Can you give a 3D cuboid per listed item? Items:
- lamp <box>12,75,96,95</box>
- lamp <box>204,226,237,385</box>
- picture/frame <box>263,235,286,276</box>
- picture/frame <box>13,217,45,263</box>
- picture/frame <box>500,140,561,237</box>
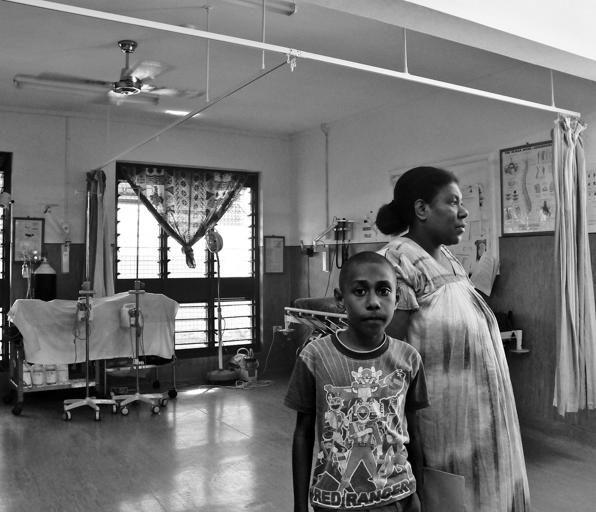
[{"bbox_3d":[-1.763,-1.243,4.504,0.573,0.125,0.292,0,0,-29],"label":"lamp"},{"bbox_3d":[-0.954,0.587,7.720,0.394,1.907,0.687,0,0,-9],"label":"lamp"},{"bbox_3d":[-0.339,0.009,8.426,0.460,0.770,0.045,4,-7,-40],"label":"picture/frame"},{"bbox_3d":[-2.268,-0.121,5.197,0.243,0.459,0.024,3,-32,-29],"label":"picture/frame"},{"bbox_3d":[1.984,-0.561,5.238,0.069,1.047,0.796,0,-1,-33],"label":"picture/frame"}]
